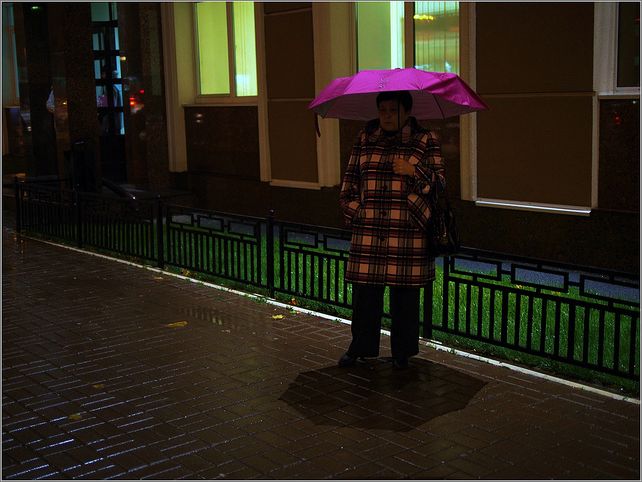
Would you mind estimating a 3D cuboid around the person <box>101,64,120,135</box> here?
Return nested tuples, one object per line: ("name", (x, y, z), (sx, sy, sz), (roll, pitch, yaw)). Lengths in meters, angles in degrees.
("person", (-6.223, -4.096, 19.103), (0.588, 1.893, 0.267), (-5, 14, -14))

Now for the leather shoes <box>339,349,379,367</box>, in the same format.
("leather shoes", (0.396, 1.167, 6.549), (0.431, 0.165, 0.147), (2, 4, -15))

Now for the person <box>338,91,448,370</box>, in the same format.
("person", (0.656, -0.073, 6.208), (0.993, 2.652, 0.434), (0, 14, 9))

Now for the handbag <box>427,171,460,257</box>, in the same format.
("handbag", (1.141, -0.207, 6.035), (0.296, 0.783, 0.310), (1, 14, 11))
